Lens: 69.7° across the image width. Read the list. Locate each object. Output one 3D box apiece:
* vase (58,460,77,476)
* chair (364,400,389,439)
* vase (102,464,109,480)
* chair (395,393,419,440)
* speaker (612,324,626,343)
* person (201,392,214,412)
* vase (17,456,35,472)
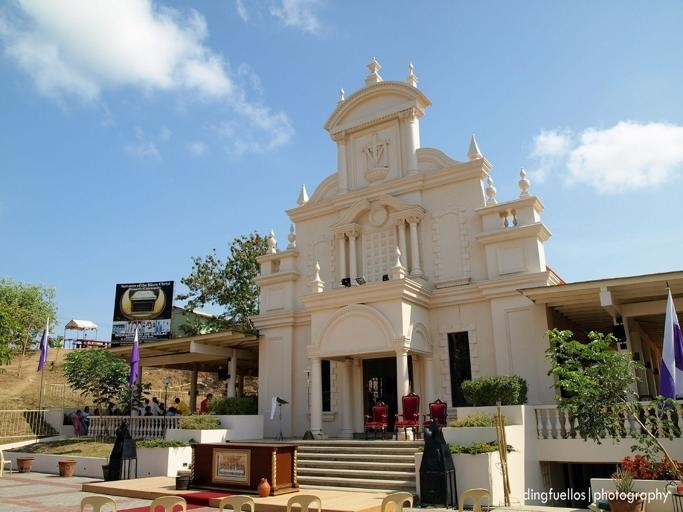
[{"bbox_3d":[-10.775,8.398,19.535,0.686,0.528,0.693,-2,-18,6],"label":"vase"},{"bbox_3d":[1.383,6.198,18.583,0.893,1.274,0.899,10,-19,-36],"label":"chair"},{"bbox_3d":[-8.425,7.755,17.660,0.230,0.483,0.839,10,-22,-25],"label":"vase"},{"bbox_3d":[2.396,5.715,17.516,0.866,1.510,0.856,-11,-16,36],"label":"chair"},{"bbox_3d":[10.043,2.800,17.775,0.359,0.657,0.257,-12,-23,30],"label":"speaker"},{"bbox_3d":[-6.289,6.866,22.960,0.458,1.055,2.776,6,-21,-14],"label":"person"},{"bbox_3d":[-13.176,8.706,20.535,0.671,0.511,0.663,10,-15,-39],"label":"vase"}]
